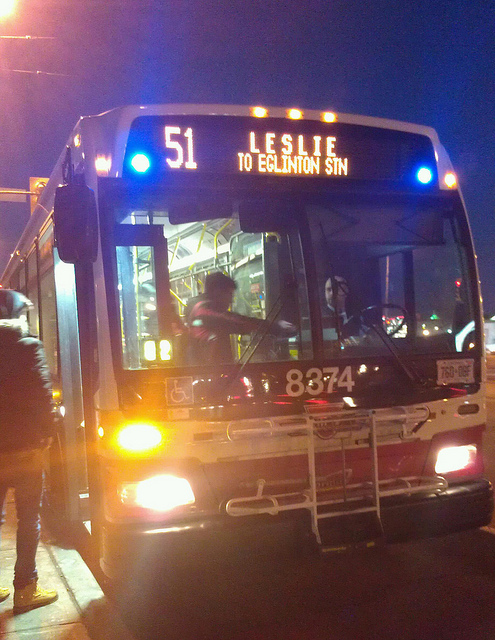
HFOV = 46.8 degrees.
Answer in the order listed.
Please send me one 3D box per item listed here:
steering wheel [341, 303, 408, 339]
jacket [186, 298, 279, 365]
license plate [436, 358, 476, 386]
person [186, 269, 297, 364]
[{"bbox_3d":[0.792,-0.027,3.807,0.300,0.084,0.303,-17,-2,-1],"label":"steering wheel"},{"bbox_3d":[-0.120,0.057,3.618,0.495,0.497,0.368,-15,-22,27],"label":"jacket"},{"bbox_3d":[1.378,0.344,3.802,0.345,0.168,0.029,-1,-4,-29],"label":"license plate"},{"bbox_3d":[-0.027,-0.003,3.647,0.236,0.595,0.852,1,2,-27],"label":"person"}]
